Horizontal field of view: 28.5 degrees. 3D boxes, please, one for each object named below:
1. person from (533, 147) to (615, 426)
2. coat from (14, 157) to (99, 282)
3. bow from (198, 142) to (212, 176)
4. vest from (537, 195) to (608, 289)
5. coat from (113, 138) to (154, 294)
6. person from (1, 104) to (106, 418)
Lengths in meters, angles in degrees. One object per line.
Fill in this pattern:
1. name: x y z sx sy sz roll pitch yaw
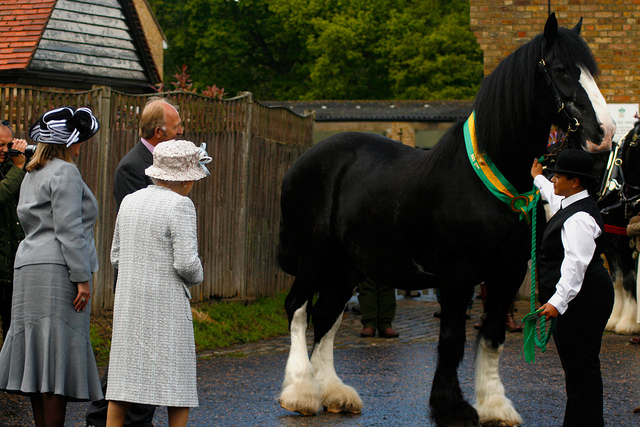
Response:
1. person: 2.685 0.822 13.405 0.868 2.990 0.897 2 13 9
2. coat: -2.851 0.061 13.560 0.881 1.297 0.542 -1 12 -6
3. bow: -1.214 -0.594 13.242 0.124 0.317 0.343 -1 12 -5
4. vest: 2.692 0.326 13.400 0.607 1.046 0.632 -3 -3 -33
5. coat: -1.996 -0.048 13.828 0.475 1.418 0.456 -3 -9 31
6. person: -2.916 0.519 13.517 1.049 3.239 0.975 -1 13 -6
